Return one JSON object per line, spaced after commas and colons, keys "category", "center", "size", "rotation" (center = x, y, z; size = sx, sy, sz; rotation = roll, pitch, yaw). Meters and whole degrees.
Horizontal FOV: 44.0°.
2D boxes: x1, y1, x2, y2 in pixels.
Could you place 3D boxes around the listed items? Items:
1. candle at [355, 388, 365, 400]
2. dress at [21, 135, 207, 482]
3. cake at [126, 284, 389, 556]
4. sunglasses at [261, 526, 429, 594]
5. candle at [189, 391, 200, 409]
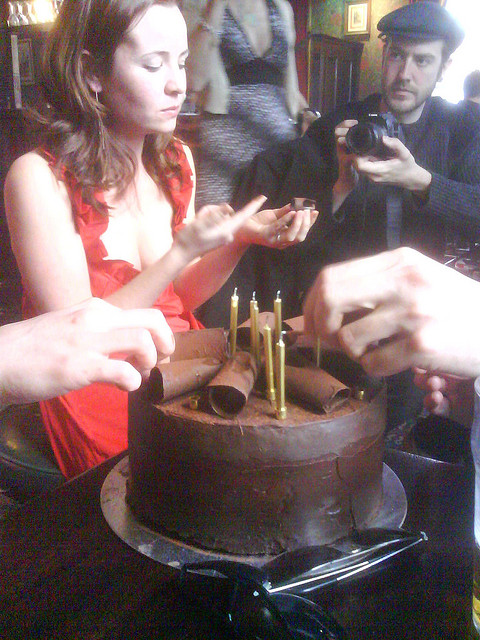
{"category": "candle", "center": [0.120, 0.074, 0.596], "size": [0.008, 0.015, 0.009], "rotation": [1, -1, 15]}
{"category": "dress", "center": [-0.217, -0.028, 1.106], "size": [0.272, 0.577, 0.363], "rotation": [15, 19, 28]}
{"category": "cake", "center": [0.020, 0.085, 0.656], "size": [0.235, 0.216, 0.269], "rotation": [3, 12, 10]}
{"category": "sunglasses", "center": [0.083, 0.199, 0.494], "size": [0.150, 0.036, 0.036], "rotation": [-16, 10, -11]}
{"category": "candle", "center": [-0.044, 0.079, 0.577], "size": [0.008, 0.010, 0.010], "rotation": [1, -3, 20]}
